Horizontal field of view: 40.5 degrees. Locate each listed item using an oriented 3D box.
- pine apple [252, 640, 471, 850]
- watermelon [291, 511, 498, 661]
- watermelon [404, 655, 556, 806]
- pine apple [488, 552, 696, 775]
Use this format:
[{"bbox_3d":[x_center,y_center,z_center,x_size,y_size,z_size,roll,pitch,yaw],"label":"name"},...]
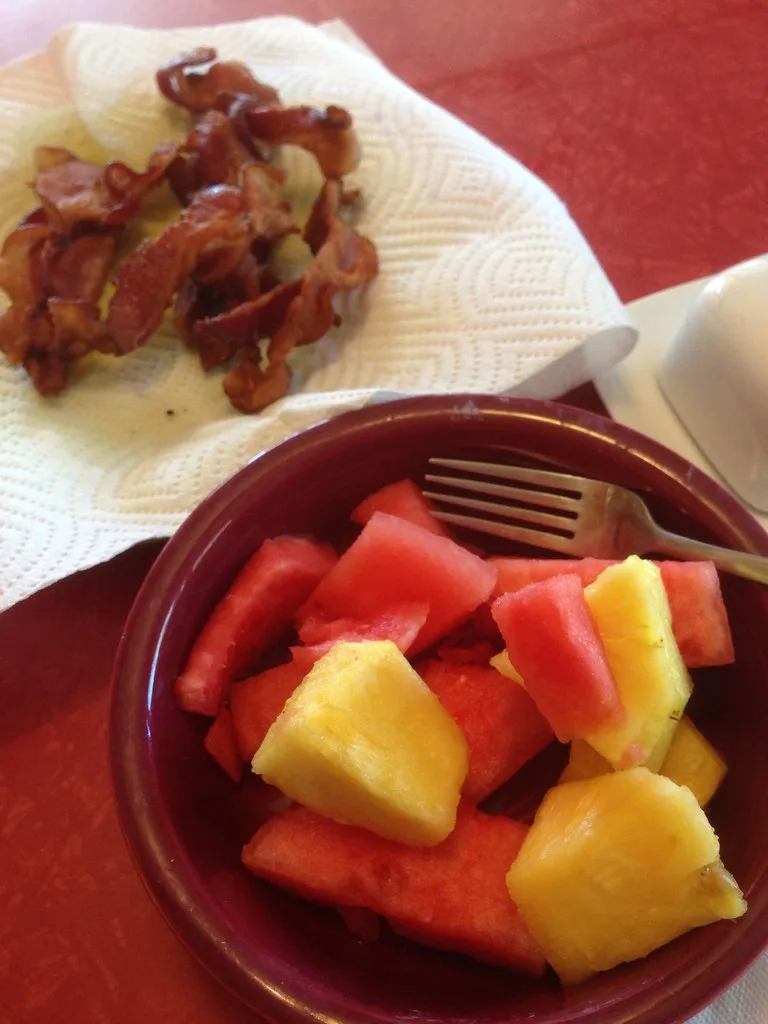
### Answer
[{"bbox_3d":[0.001,0.156,0.727,0.138,0.087,0.120,23,60,8],"label":"pine apple"},{"bbox_3d":[0.014,0.051,0.761,0.137,0.048,0.124,37,95,4],"label":"watermelon"},{"bbox_3d":[0.069,0.160,0.773,0.106,0.038,0.101,-37,82,-3],"label":"watermelon"},{"bbox_3d":[0.152,0.114,0.794,0.188,0.061,0.136,-12,82,-11],"label":"pine apple"}]
